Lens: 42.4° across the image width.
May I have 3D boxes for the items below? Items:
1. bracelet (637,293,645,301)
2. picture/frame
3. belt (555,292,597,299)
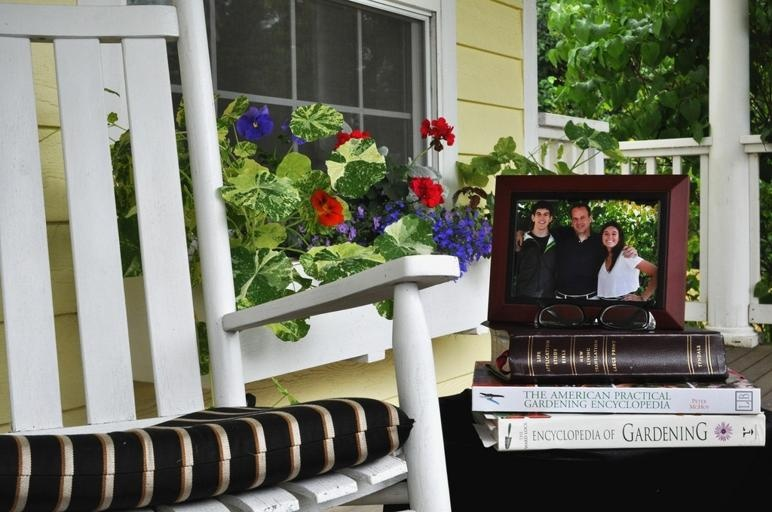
[{"bbox_3d":[0.562,0.093,2.180,0.012,0.011,0.012,0,-4,9],"label":"bracelet"},{"bbox_3d":[0.459,0.003,2.195,0.354,0.302,0.027,1,-7,9],"label":"picture/frame"},{"bbox_3d":[0.419,0.089,2.187,0.088,0.016,0.006,1,6,7],"label":"belt"}]
